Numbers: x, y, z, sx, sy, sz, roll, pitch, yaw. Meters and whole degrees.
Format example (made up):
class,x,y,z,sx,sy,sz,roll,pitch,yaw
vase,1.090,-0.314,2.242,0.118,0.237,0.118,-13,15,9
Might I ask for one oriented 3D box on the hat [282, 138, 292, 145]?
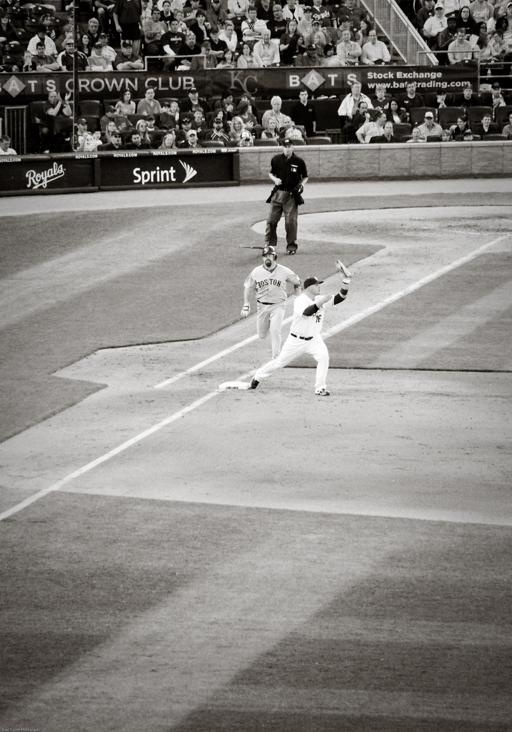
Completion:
class,x,y,z,sx,sy,sz,roll,pitch,yaw
hat,0.523,-3.685,26.862,0.094,0.087,0.143,3,7,4

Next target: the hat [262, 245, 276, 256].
class,x,y,z,sx,sy,sz,roll,pitch,yaw
hat,0.195,-1.534,21.844,0.147,0.121,0.173,1,-8,-8

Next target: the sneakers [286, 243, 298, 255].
class,x,y,z,sx,sy,sz,roll,pitch,yaw
sneakers,0.640,-2.036,28.619,0.127,0.174,0.419,2,10,3

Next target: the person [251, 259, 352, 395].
class,x,y,z,sx,sy,sz,roll,pitch,yaw
person,0.652,-0.477,20.715,1.388,1.735,0.576,8,11,36

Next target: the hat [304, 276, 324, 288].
class,x,y,z,sx,sy,sz,roll,pitch,yaw
hat,0.735,-1.002,20.618,0.237,0.139,0.156,-10,13,5
